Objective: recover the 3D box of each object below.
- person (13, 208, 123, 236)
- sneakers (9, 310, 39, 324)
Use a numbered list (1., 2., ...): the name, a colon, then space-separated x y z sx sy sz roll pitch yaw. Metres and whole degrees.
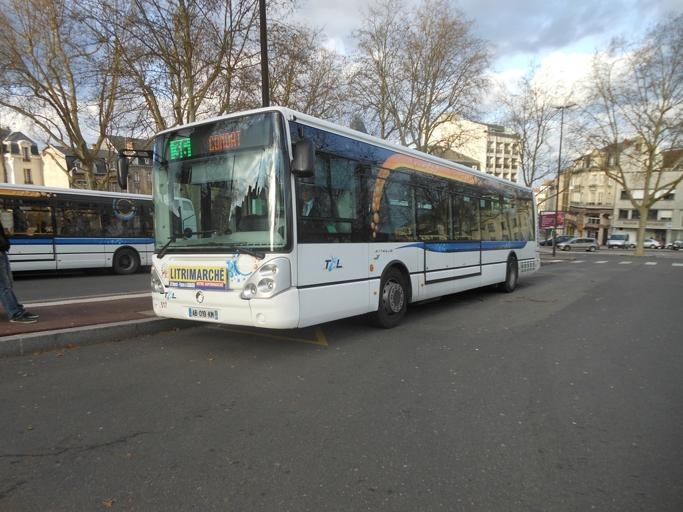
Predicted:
1. person: -9.994 -1.203 17.024 0.834 0.899 2.908 -3 -3 43
2. sneakers: -5.262 0.995 7.974 0.483 0.252 0.198 -2 6 -28
